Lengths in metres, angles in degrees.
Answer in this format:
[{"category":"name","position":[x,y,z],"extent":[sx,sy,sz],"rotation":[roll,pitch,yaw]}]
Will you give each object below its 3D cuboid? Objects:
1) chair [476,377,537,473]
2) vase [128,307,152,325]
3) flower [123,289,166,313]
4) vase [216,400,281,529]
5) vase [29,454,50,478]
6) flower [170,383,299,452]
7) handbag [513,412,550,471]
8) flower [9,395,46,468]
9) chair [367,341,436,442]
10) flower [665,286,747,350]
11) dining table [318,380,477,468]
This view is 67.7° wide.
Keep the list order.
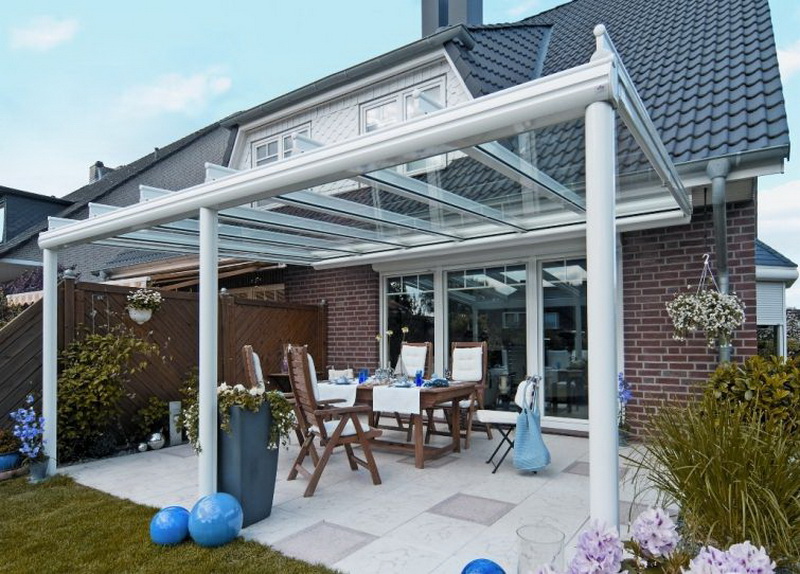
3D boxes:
[{"category":"chair","position":[1.365,1.780,7.826],"extent":[0.784,1.097,0.732],"rotation":[-2,-6,-2]},{"category":"vase","position":[-3.757,0.433,8.623],"extent":[0.252,0.192,0.258],"rotation":[-6,-7,40]},{"category":"flower","position":[-3.736,0.181,8.651],"extent":[0.351,0.207,0.366],"rotation":[3,1,0]},{"category":"vase","position":[-1.538,1.780,6.032],"extent":[0.597,1.157,0.313],"rotation":[-1,4,-18]},{"category":"vase","position":[-4.356,2.170,7.258],"extent":[0.252,0.254,0.259],"rotation":[1,-9,-15]},{"category":"flower","position":[-1.606,1.381,6.379],"extent":[0.851,0.600,0.823],"rotation":[4,-15,-18]},{"category":"handbag","position":[1.608,1.845,7.243],"extent":[0.421,0.728,0.331],"rotation":[1,4,11]},{"category":"flower","position":[-4.656,1.779,7.438],"extent":[0.353,0.725,0.838],"rotation":[-3,4,-33]},{"category":"chair","position":[0.142,1.600,9.422],"extent":[0.704,1.248,0.914],"rotation":[-7,10,43]},{"category":"flower","position":[3.991,0.425,7.755],"extent":[0.881,0.744,0.691],"rotation":[2,4,31]},{"category":"dining table","position":[-0.017,1.840,8.402],"extent":[2.021,0.962,1.412],"rotation":[1,-6,37]}]
